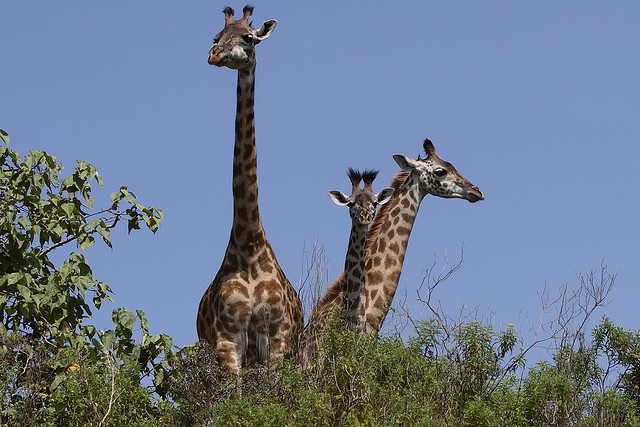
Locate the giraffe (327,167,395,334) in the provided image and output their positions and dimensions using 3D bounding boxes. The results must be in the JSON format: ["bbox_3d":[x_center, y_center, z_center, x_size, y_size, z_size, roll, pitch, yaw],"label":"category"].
[{"bbox_3d":[0.641,0.534,20.003,0.912,3.094,1.454,-1,-35,7],"label":"giraffe"}]

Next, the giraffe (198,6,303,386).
[{"bbox_3d":[-1.164,-0.258,19.365,1.694,5.597,3.532,0,-35,5],"label":"giraffe"}]
